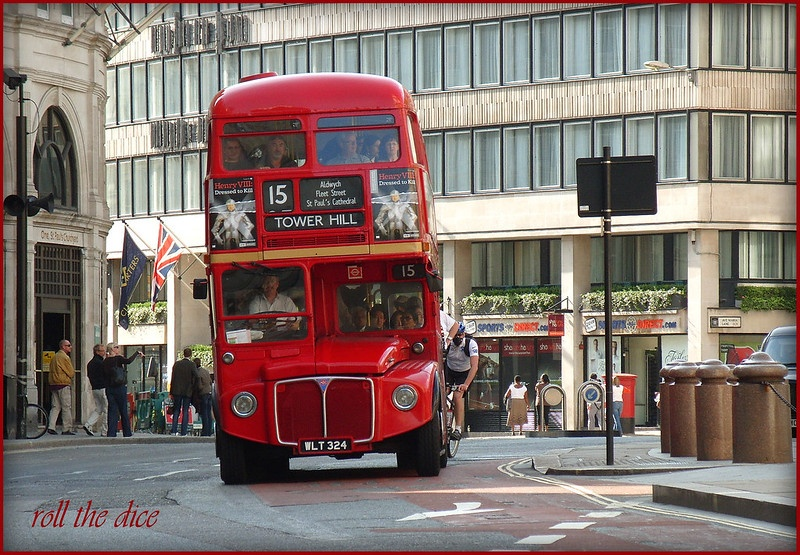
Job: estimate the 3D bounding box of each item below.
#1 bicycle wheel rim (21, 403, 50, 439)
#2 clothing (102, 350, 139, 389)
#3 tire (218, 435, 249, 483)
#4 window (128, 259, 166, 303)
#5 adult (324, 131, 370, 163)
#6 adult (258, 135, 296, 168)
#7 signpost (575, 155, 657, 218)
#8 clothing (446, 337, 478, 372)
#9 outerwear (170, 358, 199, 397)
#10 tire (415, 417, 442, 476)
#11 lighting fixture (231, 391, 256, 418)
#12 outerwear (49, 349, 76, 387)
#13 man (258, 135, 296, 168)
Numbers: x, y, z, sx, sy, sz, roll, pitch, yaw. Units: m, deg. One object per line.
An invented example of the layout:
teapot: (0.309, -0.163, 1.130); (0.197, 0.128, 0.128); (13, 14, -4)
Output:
bicycle wheel rim: (-8.875, 3.507, 35.199); (0.904, 0.944, 0.934); (2, -1, -4)
clothing: (-6.863, 2.359, 35.851); (0.728, 0.834, 0.939); (0, -9, -3)
tire: (-2.518, 2.748, 21.967); (0.300, 0.772, 0.769); (0, -1, -10)
window: (-9.324, 0.147, 53.628); (1.905, 1.922, 0.126); (1, -5, 42)
adult: (-0.782, -1.936, 22.405); (0.805, 0.534, 0.364); (2, -11, -20)
adult: (-1.917, -1.894, 22.504); (0.642, 0.717, 0.398); (1, -22, -9)
signpost: (3.538, -1.503, 23.781); (1.124, 0.836, 0.115); (0, -5, 3)
clothing: (1.070, 1.377, 25.464); (0.574, 0.565, 0.478); (8, -7, -27)
outerwear: (-5.590, 2.663, 37.772); (0.969, 1.318, 0.713); (3, -10, -11)
tire: (0.424, 2.581, 21.920); (0.395, 0.942, 0.488); (-2, -1, 0)
lighting fixture: (-2.331, 1.921, 21.653); (0.384, 0.362, 0.085); (-2, -1, 17)
outerwear: (-8.497, 2.310, 36.474); (0.535, 0.938, 0.694); (-1, -2, -31)
man: (-1.922, -1.881, 22.494); (0.642, 0.717, 0.398); (1, -22, -9)
